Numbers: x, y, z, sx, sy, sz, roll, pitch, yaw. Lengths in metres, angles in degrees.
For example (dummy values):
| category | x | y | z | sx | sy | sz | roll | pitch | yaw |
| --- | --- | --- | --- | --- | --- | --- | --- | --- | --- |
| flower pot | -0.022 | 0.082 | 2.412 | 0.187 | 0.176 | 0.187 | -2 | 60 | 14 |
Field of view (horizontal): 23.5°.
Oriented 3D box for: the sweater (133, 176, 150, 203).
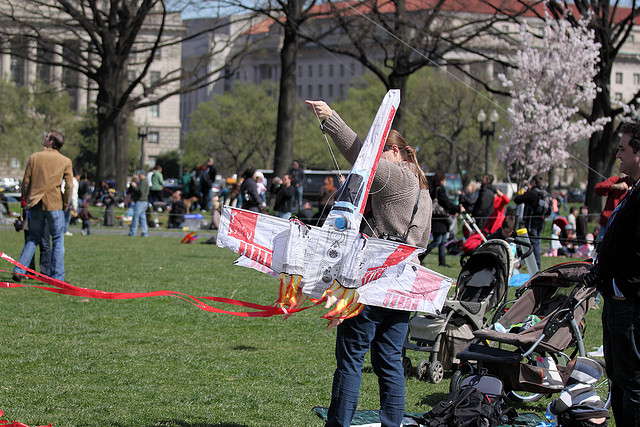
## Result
| category | x | y | z | sx | sy | sz | roll | pitch | yaw |
| --- | --- | --- | --- | --- | --- | --- | --- | --- | --- |
| sweater | -7.634 | -1.045 | 65.716 | 0.670 | 1.104 | 1.117 | 5 | 1 | 3 |

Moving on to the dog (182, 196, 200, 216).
| category | x | y | z | sx | sy | sz | roll | pitch | yaw |
| --- | --- | --- | --- | --- | --- | --- | --- | --- | --- |
| dog | -6.372 | -0.451 | 75.269 | 0.788 | 0.897 | 0.388 | 9 | 8 | 17 |

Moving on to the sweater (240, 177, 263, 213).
| category | x | y | z | sx | sy | sz | roll | pitch | yaw |
| --- | --- | --- | --- | --- | --- | --- | --- | --- | --- |
| sweater | -2.750 | -0.739 | 61.780 | 0.617 | 2.495 | 0.761 | 12 | 46 | 13 |
